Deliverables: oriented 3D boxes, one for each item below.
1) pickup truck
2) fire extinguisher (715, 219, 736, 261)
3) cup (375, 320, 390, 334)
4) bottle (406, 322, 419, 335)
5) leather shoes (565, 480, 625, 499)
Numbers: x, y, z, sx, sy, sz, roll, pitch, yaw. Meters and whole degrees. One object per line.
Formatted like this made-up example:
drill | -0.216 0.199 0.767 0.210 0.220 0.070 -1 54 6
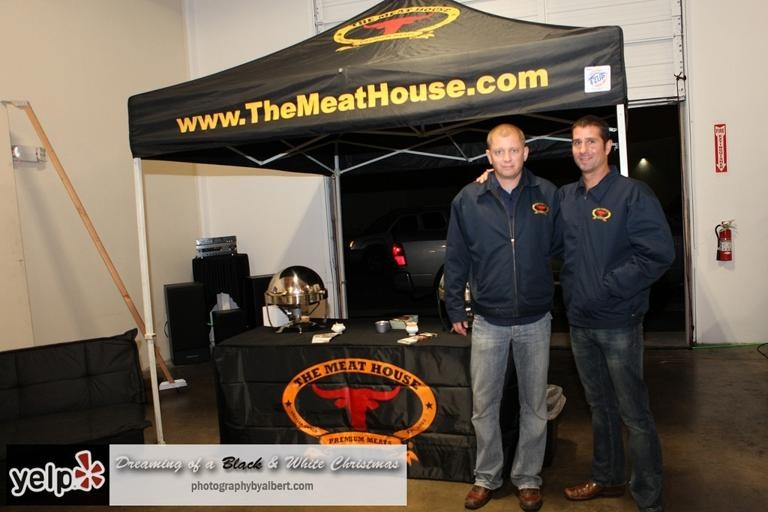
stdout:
pickup truck | 1.204 0.182 11.360 3.779 1.590 1.730 -7 -12 -38
fire extinguisher | 4.622 -0.199 8.950 0.234 0.544 0.131 -2 7 19
cup | -0.011 0.703 6.608 0.115 0.080 0.114 0 -4 0
bottle | 0.272 0.711 6.413 0.110 0.096 0.119 -2 1 33
leather shoes | 1.854 2.103 5.950 0.543 0.220 0.195 1 0 0
